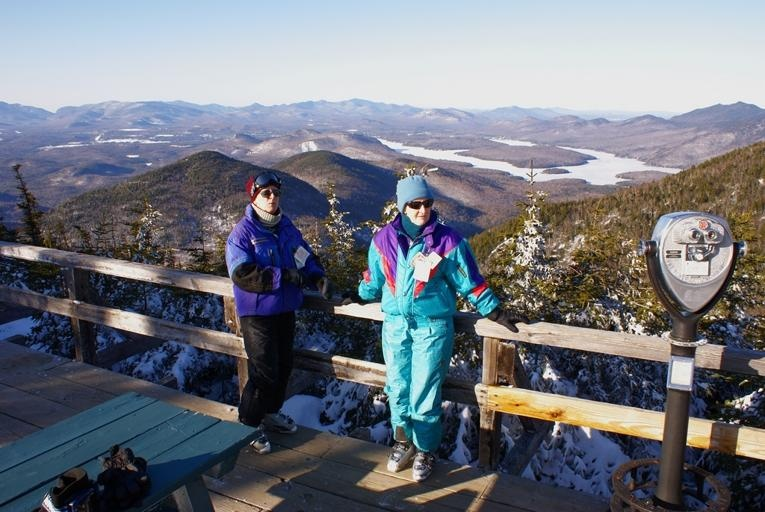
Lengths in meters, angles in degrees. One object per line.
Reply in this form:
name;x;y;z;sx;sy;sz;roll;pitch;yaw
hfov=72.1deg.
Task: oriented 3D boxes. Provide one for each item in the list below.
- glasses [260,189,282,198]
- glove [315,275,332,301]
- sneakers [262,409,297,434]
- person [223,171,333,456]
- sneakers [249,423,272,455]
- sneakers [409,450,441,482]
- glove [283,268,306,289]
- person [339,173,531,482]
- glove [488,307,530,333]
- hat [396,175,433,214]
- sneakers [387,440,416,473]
glasses;-1.007;-0.575;4.824;0.078;0.088;0.201;8;13;39
glove;-0.549;0.299;4.897;0.074;0.202;0.149;-32;-13;-37
sneakers;-0.938;1.631;5.104;0.405;0.269;0.148;4;32;-5
person;-0.978;0.518;4.885;0.835;2.557;0.690;-5;11;-26
sneakers;-1.153;1.697;5.040;0.189;0.210;0.508;-4;6;-24
sneakers;0.330;1.830;4.538;0.115;0.142;0.339;1;-8;13
glove;-0.791;0.190;4.712;0.159;0.135;0.177;-30;-14;33
person;0.348;0.616;4.593;1.305;2.618;0.650;2;10;12
glove;1.035;0.538;4.388;0.327;0.168;0.113;21;-9;4
hat;0.258;-0.559;4.554;0.317;0.287;0.317;-5;9;12
sneakers;0.157;1.775;4.682;0.127;0.165;0.378;5;5;31
